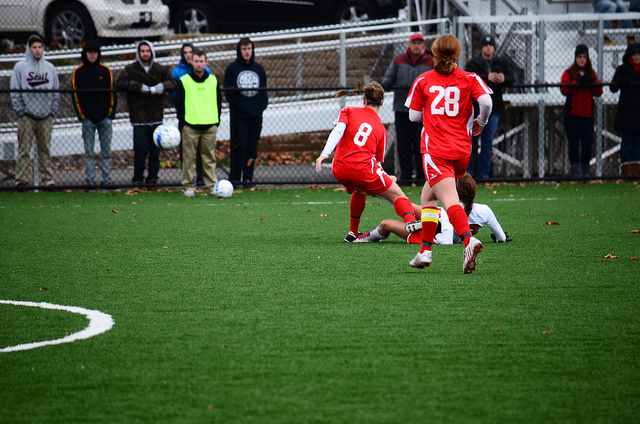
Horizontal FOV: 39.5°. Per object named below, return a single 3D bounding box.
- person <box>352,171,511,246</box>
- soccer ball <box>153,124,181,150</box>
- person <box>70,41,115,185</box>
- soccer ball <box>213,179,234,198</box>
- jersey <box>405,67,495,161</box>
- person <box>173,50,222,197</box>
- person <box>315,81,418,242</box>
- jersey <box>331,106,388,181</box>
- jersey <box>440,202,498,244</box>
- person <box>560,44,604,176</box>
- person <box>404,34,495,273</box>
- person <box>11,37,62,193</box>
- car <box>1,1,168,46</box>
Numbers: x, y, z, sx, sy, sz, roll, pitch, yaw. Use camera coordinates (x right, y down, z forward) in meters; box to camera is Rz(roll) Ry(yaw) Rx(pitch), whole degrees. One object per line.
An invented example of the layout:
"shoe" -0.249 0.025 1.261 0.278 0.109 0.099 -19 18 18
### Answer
"person" 1.318 0.022 10.645 1.316 0.699 0.933 -2 -3 25
"soccer ball" -2.411 -1.160 14.148 0.382 0.410 0.382 -1 -6 0
"person" -3.854 -1.688 15.214 0.700 2.483 0.613 -3 9 -14
"soccer ball" -1.609 -0.383 14.602 0.353 0.293 0.285 2 10 10
"jersey" 1.430 -1.072 9.754 0.872 1.036 0.678 2 1 28
"person" -1.961 -1.413 14.427 0.706 2.392 0.438 -1 9 -8
"person" 0.532 -0.590 10.712 1.108 1.939 0.500 1 9 4
"jersey" 0.475 -0.828 10.704 0.632 0.873 0.387 0 9 1
"jersey" 1.773 0.080 10.614 0.573 0.239 0.518 8 14 39
"person" 4.562 -1.768 15.615 0.671 2.334 0.540 1 9 10
"person" 1.400 -0.685 9.758 0.920 2.521 1.317 2 10 10
"person" -4.880 -1.670 15.271 0.823 2.650 1.076 -4 10 -20
"car" -4.821 -3.649 18.512 2.956 0.958 1.591 3 12 19
